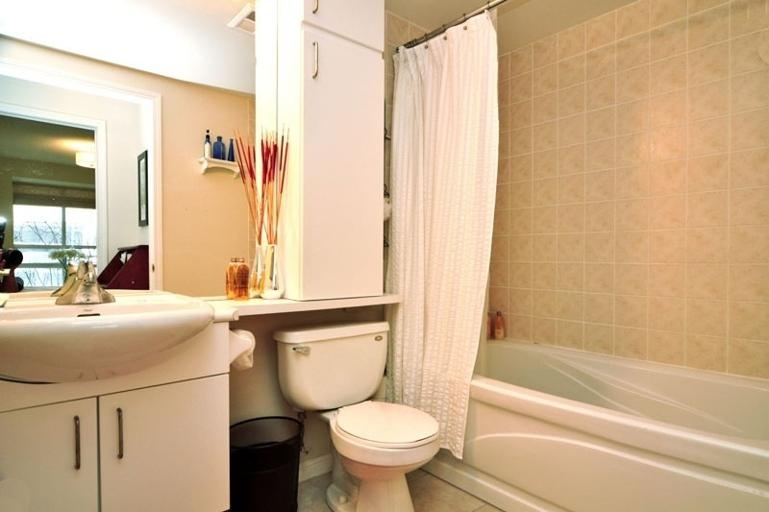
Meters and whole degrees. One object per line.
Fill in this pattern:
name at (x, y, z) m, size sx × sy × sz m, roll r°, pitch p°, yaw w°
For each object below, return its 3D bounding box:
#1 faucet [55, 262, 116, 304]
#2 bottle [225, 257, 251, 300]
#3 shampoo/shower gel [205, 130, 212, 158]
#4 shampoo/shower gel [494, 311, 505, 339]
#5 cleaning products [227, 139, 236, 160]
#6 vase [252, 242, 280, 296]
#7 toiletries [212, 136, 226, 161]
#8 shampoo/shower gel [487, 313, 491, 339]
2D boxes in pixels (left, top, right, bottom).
faucet at (-1.417, 0.121, 2.571) m, size 0.216 × 0.161 × 0.212 m, roll 1°, pitch -2°, yaw 22°
bottle at (-0.799, 0.121, 2.936) m, size 0.129 × 0.232 × 0.086 m, roll -2°, pitch 3°, yaw -18°
shampoo/shower gel at (-0.940, -0.600, 2.873) m, size 0.015 × 0.154 × 0.045 m, roll 1°, pitch 4°, yaw 29°
shampoo/shower gel at (0.861, 0.518, 4.044) m, size 0.084 × 0.200 × 0.114 m, roll -1°, pitch 3°, yaw 12°
cleaning products at (-0.835, -0.579, 2.937) m, size 0.037 × 0.128 × 0.016 m, roll -2°, pitch 4°, yaw -16°
vase at (-0.660, 0.086, 3.029) m, size 0.180 × 0.302 × 0.104 m, roll -3°, pitch 4°, yaw -31°
toiletries at (-0.892, -0.585, 2.907) m, size 0.066 × 0.126 × 0.017 m, roll -4°, pitch 5°, yaw -42°
shampoo/shower gel at (0.796, 0.520, 4.062) m, size 0.040 × 0.181 × 0.154 m, roll -1°, pitch 3°, yaw 11°
